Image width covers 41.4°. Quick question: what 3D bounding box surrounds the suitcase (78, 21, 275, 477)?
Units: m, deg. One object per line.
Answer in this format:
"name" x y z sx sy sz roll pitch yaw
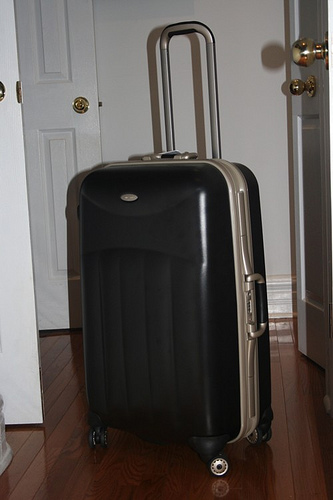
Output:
"suitcase" 0.009 -0.019 0.955 0.372 0.896 0.302 3 12 34
